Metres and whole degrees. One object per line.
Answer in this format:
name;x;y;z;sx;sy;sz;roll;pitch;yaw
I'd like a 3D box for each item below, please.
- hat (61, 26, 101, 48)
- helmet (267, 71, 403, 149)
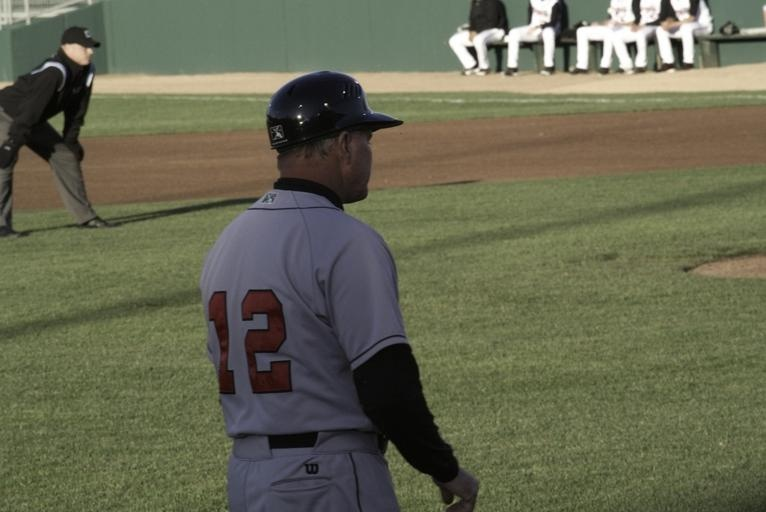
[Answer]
hat;-3.358;-2.403;11.653;0.390;0.250;0.287;-2;16;0
helmet;-0.363;-0.904;6.759;0.646;0.341;0.491;-16;5;-10
